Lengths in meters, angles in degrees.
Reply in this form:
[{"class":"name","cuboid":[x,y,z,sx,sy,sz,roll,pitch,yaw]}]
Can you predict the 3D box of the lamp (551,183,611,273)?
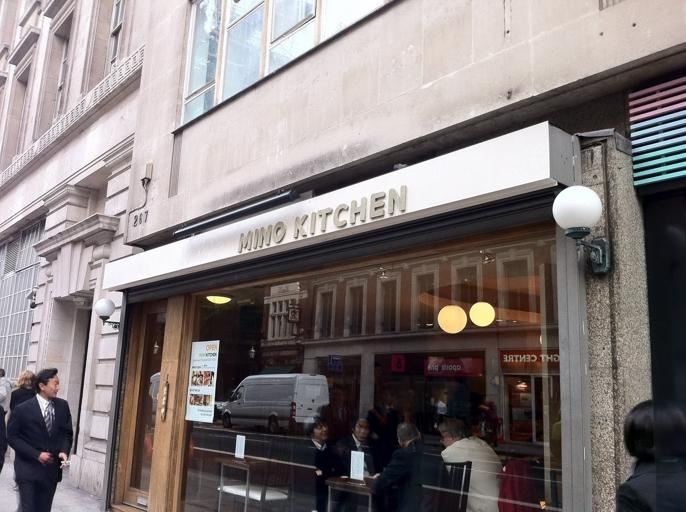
[{"class":"lamp","cuboid":[2.025,-0.218,4.439,0.340,0.703,0.638,-10,-18,35]}]
